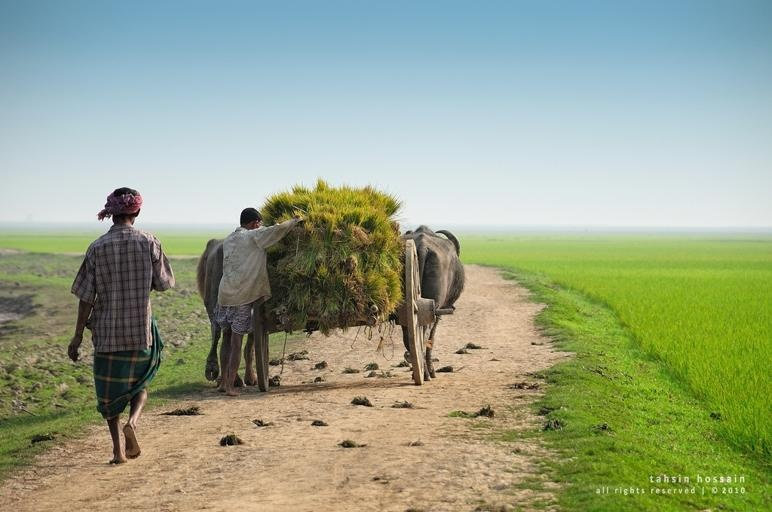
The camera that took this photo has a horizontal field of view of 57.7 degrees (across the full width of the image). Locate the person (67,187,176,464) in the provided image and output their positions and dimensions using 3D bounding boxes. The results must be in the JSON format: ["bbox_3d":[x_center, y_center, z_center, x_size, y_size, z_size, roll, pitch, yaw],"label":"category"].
[{"bbox_3d":[-3.837,1.025,10.195,1.302,3.977,0.673,-4,10,-22],"label":"person"}]

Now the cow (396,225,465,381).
[{"bbox_3d":[1.070,0.887,15.269,1.148,3.136,4.177,1,9,8],"label":"cow"}]
